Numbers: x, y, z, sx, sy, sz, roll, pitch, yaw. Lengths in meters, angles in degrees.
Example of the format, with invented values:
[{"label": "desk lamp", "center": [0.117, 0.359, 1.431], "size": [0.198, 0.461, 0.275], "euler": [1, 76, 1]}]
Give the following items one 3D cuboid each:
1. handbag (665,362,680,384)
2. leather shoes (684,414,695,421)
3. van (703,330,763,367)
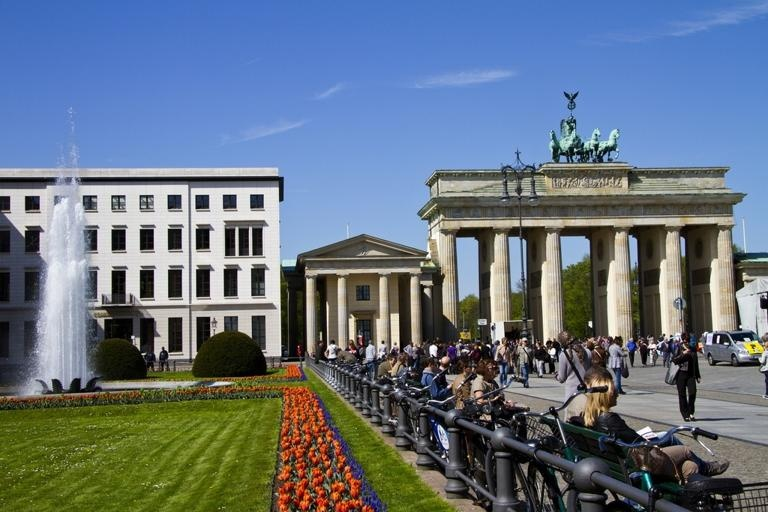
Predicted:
[{"label": "handbag", "center": [8.851, 3.621, 23.998], "size": [0.197, 0.659, 0.499], "euler": [19, 1, -26]}, {"label": "leather shoes", "center": [8.906, 4.725, 23.031], "size": [0.148, 0.171, 0.414], "euler": [1, -1, 17]}, {"label": "van", "center": [21.353, 5.669, 48.191], "size": [1.982, 1.603, 3.867], "euler": [2, -10, -15]}]
